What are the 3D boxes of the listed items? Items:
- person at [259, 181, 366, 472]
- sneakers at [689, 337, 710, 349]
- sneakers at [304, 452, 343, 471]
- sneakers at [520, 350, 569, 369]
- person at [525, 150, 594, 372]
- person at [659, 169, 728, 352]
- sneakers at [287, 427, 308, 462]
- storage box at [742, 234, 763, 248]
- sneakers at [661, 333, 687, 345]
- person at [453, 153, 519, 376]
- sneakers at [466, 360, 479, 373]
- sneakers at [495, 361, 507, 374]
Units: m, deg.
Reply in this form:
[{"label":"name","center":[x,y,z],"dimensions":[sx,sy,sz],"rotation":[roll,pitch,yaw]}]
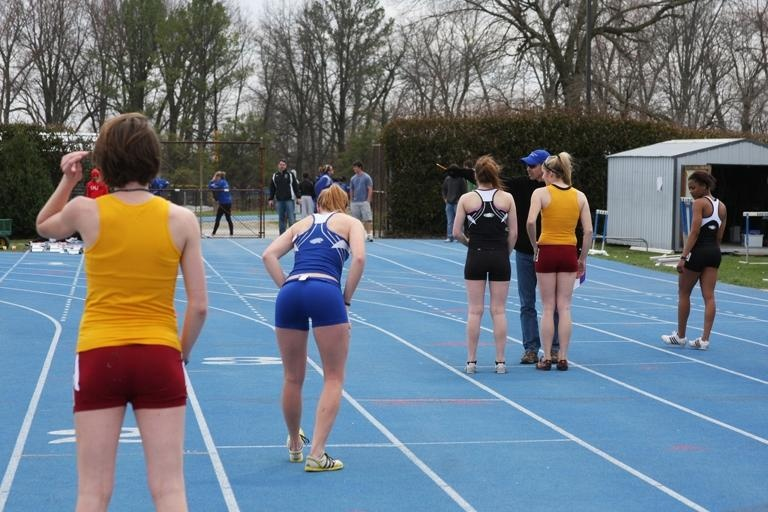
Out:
[{"label":"person","center":[-0.595,0.623,7.472],"dimensions":[0.849,2.496,0.537],"rotation":[3,8,23]},{"label":"sneakers","center":[4.379,1.212,11.831],"dimensions":[0.113,0.145,0.287],"rotation":[-2,8,-29]},{"label":"sneakers","center":[-0.527,1.825,7.470],"dimensions":[0.342,0.158,0.144],"rotation":[-3,6,-18]},{"label":"sneakers","center":[2.025,1.325,10.688],"dimensions":[0.227,0.180,0.445],"rotation":[1,4,-11]},{"label":"person","center":[2.134,0.071,10.431],"dimensions":[0.774,2.685,0.504],"rotation":[2,7,11]},{"label":"person","center":[4.380,0.036,11.870],"dimensions":[0.663,2.459,0.745],"rotation":[3,7,22]},{"label":"sneakers","center":[-0.778,1.714,7.683],"dimensions":[0.126,0.151,0.354],"rotation":[-1,20,1]},{"label":"storage box","center":[10.674,-0.454,24.376],"dimensions":[0.374,0.382,0.446],"rotation":[2,7,14]},{"label":"sneakers","center":[4.071,1.158,11.939],"dimensions":[0.358,0.178,0.133],"rotation":[6,1,12]},{"label":"person","center":[1.209,0.111,10.199],"dimensions":[0.754,2.633,0.506],"rotation":[1,7,8]},{"label":"sneakers","center":[1.069,1.352,10.329],"dimensions":[0.169,0.096,0.240],"rotation":[0,0,0]},{"label":"sneakers","center":[1.414,1.358,10.300],"dimensions":[0.125,0.149,0.347],"rotation":[-1,-6,2]}]
